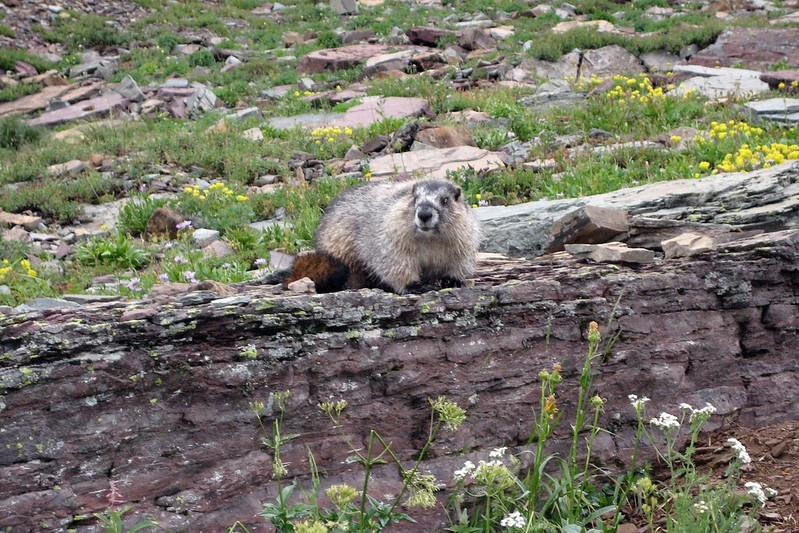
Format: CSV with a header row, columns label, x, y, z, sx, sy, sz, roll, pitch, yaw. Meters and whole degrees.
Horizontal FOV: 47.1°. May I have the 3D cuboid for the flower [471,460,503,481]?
label,x,y,z,sx,sy,sz,roll,pitch,yaw
flower,0.955,2.191,9.988,0.264,0.152,0.260,-13,-6,5
